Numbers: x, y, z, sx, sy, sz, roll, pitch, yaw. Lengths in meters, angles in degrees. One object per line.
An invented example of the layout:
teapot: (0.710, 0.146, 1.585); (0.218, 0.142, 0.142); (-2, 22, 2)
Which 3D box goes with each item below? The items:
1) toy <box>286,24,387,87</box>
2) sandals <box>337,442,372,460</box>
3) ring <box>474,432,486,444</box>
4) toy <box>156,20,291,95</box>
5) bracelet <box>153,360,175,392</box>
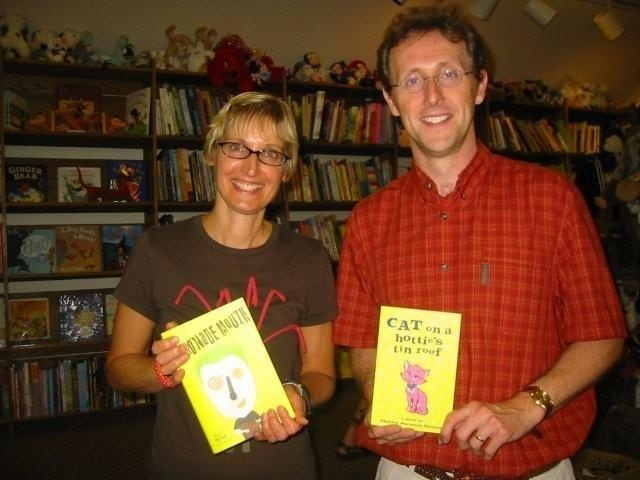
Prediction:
toy: (0.136, -1.688, 4.625); (0.727, 0.273, 0.433); (5, 14, -16)
sandals: (0.234, 1.492, 3.485); (0.270, 0.062, 0.102); (4, 5, -6)
ring: (0.514, 0.631, 1.570); (0.007, 0.026, 0.026); (-35, 0, -25)
toy: (-0.901, -1.554, 4.183); (0.852, 0.315, 0.711); (24, 42, 15)
bracelet: (-0.539, 0.475, 1.700); (0.075, 0.098, 0.035); (1, 24, 18)
